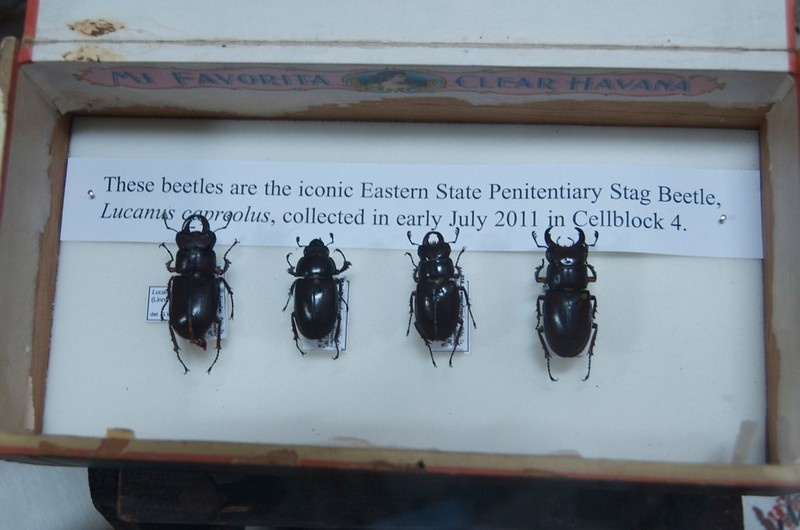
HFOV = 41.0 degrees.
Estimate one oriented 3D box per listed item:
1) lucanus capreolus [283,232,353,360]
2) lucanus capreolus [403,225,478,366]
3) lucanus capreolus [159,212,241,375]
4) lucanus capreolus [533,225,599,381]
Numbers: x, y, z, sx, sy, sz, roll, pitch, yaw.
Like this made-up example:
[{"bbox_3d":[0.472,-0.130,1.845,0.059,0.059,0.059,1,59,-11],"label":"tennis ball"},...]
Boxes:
[{"bbox_3d":[-0.418,0.155,5.420,0.363,0.545,0.196,1,-8,-8],"label":"lucanus capreolus"},{"bbox_3d":[0.194,0.160,5.462,0.391,0.690,0.184,-2,-16,7],"label":"lucanus capreolus"},{"bbox_3d":[-1.033,0.139,5.396,0.374,0.733,0.184,1,-11,-6],"label":"lucanus capreolus"},{"bbox_3d":[0.848,0.179,5.367,0.324,0.688,0.204,2,-10,1],"label":"lucanus capreolus"}]
